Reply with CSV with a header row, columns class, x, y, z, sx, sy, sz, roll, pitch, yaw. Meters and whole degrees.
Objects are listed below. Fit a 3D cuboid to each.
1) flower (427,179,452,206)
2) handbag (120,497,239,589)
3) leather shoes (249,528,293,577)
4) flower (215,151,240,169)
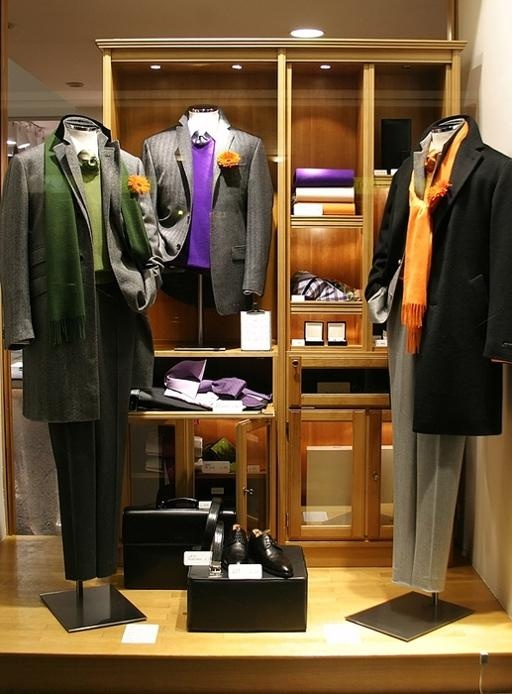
class,x,y,z,sx,sy,sz,roll,pitch,yaw
flower,0.528,-0.452,1.860,0.026,0.066,0.062,26,21,-32
handbag,-0.242,0.662,2.109,0.295,0.257,0.104,1,8,0
leather shoes,0.048,0.636,1.946,0.056,0.076,0.176,0,3,-22
flower,-0.089,-0.678,2.282,0.088,0.063,0.035,0,3,-11
